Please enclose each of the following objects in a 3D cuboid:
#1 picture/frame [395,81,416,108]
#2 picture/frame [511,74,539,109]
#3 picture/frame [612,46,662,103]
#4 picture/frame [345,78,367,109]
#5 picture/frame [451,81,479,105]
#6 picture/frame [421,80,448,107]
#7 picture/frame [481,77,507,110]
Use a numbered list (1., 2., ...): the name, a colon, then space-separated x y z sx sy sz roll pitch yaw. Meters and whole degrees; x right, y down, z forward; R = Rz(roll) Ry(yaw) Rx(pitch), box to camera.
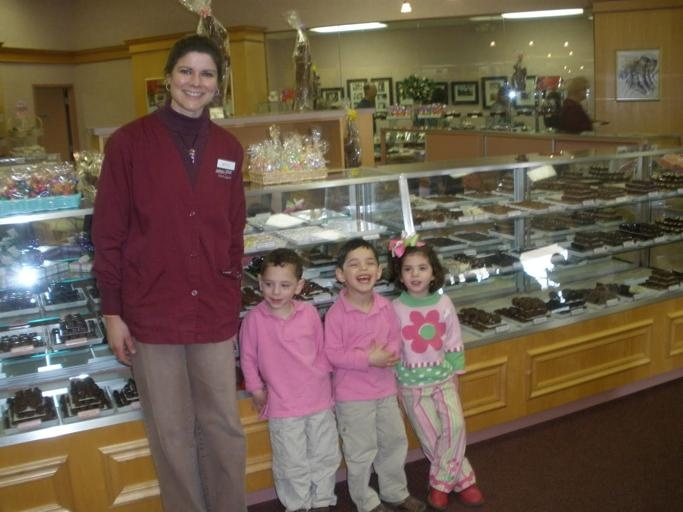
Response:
1. picture/frame: 1.201 -3.012 9.931 0.460 0.453 0.311 8 13 20
2. picture/frame: 3.053 -2.758 9.008 0.379 0.555 0.047 1 -7 8
3. picture/frame: 4.432 -2.792 8.120 0.829 1.093 0.079 3 15 28
4. picture/frame: 0.347 -3.083 10.051 0.399 0.525 0.207 -4 11 3
5. picture/frame: 2.216 -2.948 9.571 0.409 0.369 0.031 1 9 12
6. picture/frame: 1.659 -2.907 9.553 0.511 0.465 0.055 0 -9 -20
7. picture/frame: 2.662 -2.897 9.372 0.597 0.706 0.051 6 1 33
